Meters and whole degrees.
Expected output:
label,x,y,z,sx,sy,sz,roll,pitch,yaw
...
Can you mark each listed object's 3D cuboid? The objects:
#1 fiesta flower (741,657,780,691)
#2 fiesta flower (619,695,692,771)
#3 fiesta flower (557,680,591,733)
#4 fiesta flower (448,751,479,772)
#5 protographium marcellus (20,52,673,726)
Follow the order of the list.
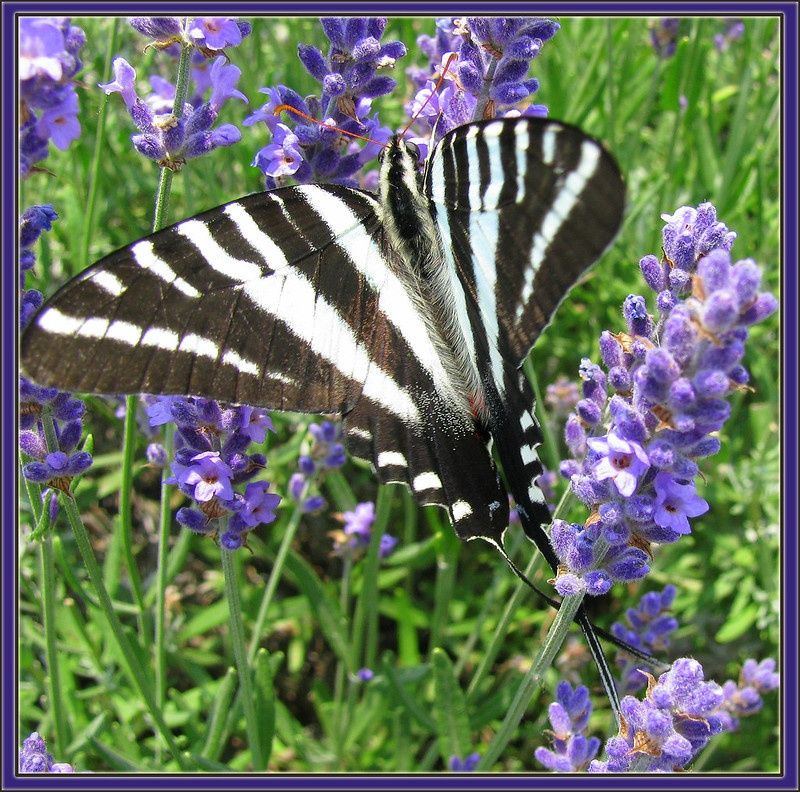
label,x,y,z,sx,sy,sz,roll,pitch,yaw
fiesta flower,1.155,0.883,3.362,0.141,0.117,0.057,-2,-9,14
fiesta flower,0.577,0.757,2.348,0.070,0.129,0.161,24,35,38
fiesta flower,0.453,0.777,2.682,0.067,0.142,0.040,-22,0,27
fiesta flower,0.182,1.051,2.983,0.054,0.072,0.028,-1,-10,-20
protographium marcellus,-0.090,-0.179,2.777,1.443,1.638,0.754,-21,-12,9
